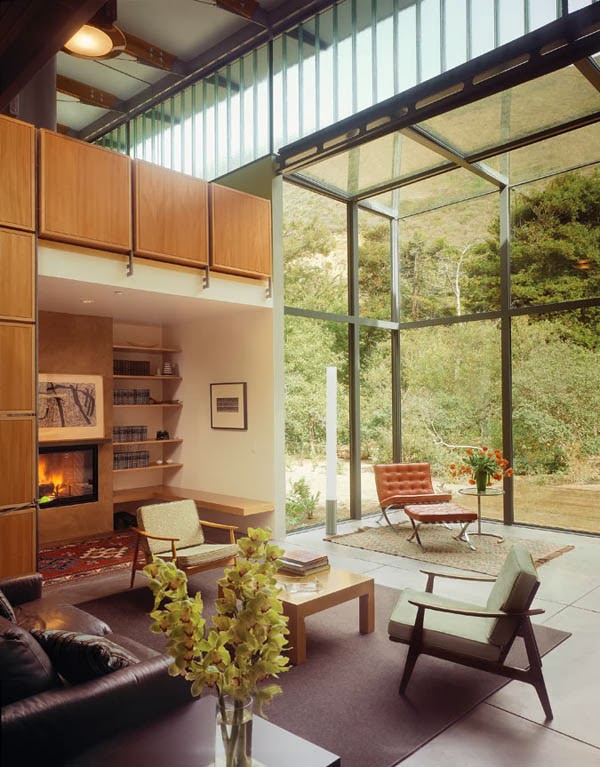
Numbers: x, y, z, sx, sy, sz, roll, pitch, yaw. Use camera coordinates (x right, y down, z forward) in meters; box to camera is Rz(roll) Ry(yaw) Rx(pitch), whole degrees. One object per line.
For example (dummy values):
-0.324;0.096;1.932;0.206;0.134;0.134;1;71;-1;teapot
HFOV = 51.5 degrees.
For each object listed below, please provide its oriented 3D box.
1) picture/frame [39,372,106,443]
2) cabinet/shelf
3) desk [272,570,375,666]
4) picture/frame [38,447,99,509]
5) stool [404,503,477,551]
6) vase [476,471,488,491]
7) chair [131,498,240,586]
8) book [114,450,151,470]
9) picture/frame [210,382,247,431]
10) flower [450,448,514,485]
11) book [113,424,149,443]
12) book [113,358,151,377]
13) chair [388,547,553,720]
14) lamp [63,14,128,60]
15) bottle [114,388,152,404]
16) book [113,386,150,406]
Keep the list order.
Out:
-2.734;0.258;7.362;0.044;0.931;1.167;-6;-5;24;picture/frame
-2.088;0.464;8.412;0.596;2.120;2.000;-1;-2;10;cabinet/shelf
0.106;1.420;4.139;0.710;0.316;0.692;-2;0;-41;desk
-2.797;1.093;7.323;0.104;0.856;1.054;-8;-8;31;picture/frame
1.524;1.518;6.728;0.609;0.312;0.592;2;-4;0;stool
2.051;1.098;6.999;0.124;0.227;0.170;-2;-2;13;vase
-0.994;1.401;5.411;0.769;0.608;0.725;-1;-1;44;chair
-2.201;0.988;8.087;0.415;0.208;0.199;2;2;-42;book
-0.884;0.280;7.727;0.626;0.542;0.064;-3;-2;43;picture/frame
2.226;0.949;7.318;0.694;0.441;0.673;6;-6;-36;flower
-2.237;0.658;8.172;0.199;0.157;0.373;1;1;42;book
-2.207;-0.205;8.166;0.514;0.226;0.243;0;-2;-30;book
0.956;1.326;3.514;0.887;0.646;0.675;-2;-3;20;chair
-1.454;-2.449;4.475;0.335;0.076;0.519;0;-2;-35;lamp
-2.209;0.177;8.184;0.195;0.158;0.519;2;0;10;bottle
-2.222;0.176;8.196;0.545;0.179;0.189;4;15;-43;book
